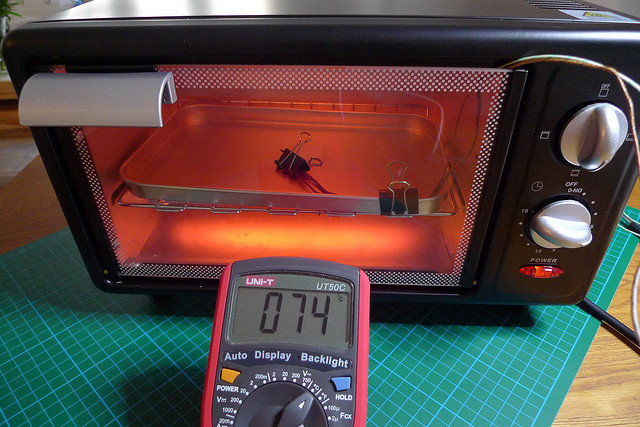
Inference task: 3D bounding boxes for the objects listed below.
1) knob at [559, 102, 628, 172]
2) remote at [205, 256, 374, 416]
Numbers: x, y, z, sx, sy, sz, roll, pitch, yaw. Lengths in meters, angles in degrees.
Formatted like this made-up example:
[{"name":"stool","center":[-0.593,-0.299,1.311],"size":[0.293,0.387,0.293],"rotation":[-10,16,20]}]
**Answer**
[{"name":"knob","center":[0.374,-0.108,0.644],"size":[0.081,0.082,0.056],"rotation":[18,43,22]},{"name":"remote","center":[-0.039,0.168,0.655],"size":[0.217,0.210,0.143],"rotation":[4,25,7]}]
